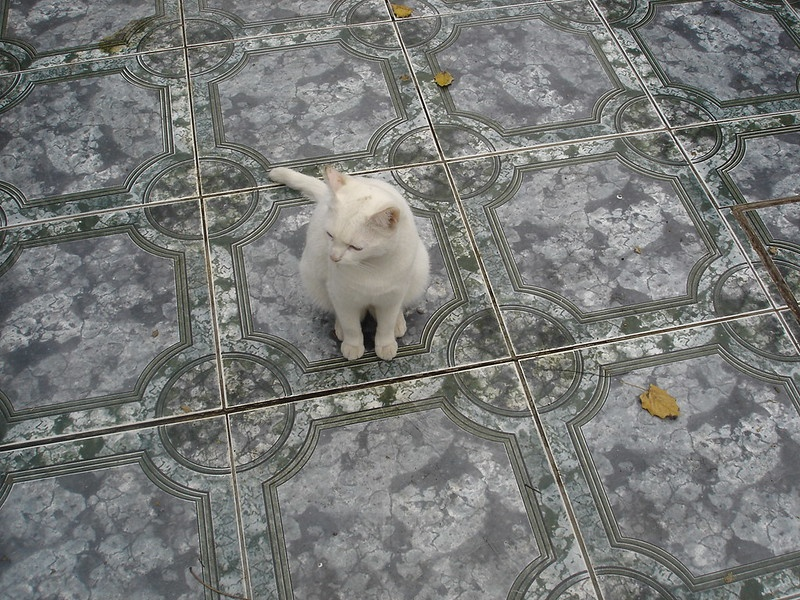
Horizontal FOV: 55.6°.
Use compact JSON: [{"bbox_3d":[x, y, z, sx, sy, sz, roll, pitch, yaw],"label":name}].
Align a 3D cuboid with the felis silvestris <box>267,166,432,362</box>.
[{"bbox_3d":[-0.176,-0.236,2.463,0.444,0.540,0.671,5,61,2],"label":"felis silvestris"}]
